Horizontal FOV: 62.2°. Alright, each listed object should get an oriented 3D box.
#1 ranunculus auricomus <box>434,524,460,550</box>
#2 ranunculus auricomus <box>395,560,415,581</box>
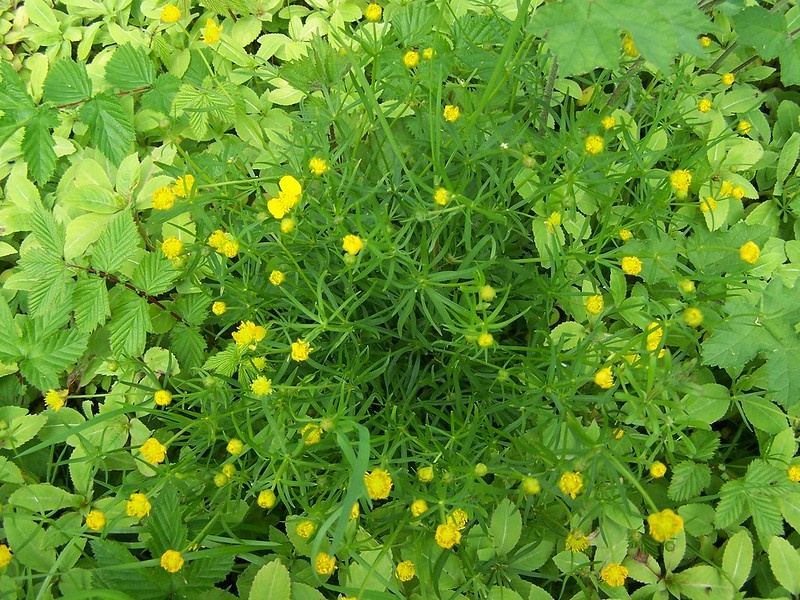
[{"bbox_3d":[0.113,0.572,1.633,0.061,0.031,0.069,15,78,6],"label":"ranunculus auricomus"},{"bbox_3d":[0.011,0.692,1.695,0.045,0.052,0.055,25,86,3],"label":"ranunculus auricomus"}]
